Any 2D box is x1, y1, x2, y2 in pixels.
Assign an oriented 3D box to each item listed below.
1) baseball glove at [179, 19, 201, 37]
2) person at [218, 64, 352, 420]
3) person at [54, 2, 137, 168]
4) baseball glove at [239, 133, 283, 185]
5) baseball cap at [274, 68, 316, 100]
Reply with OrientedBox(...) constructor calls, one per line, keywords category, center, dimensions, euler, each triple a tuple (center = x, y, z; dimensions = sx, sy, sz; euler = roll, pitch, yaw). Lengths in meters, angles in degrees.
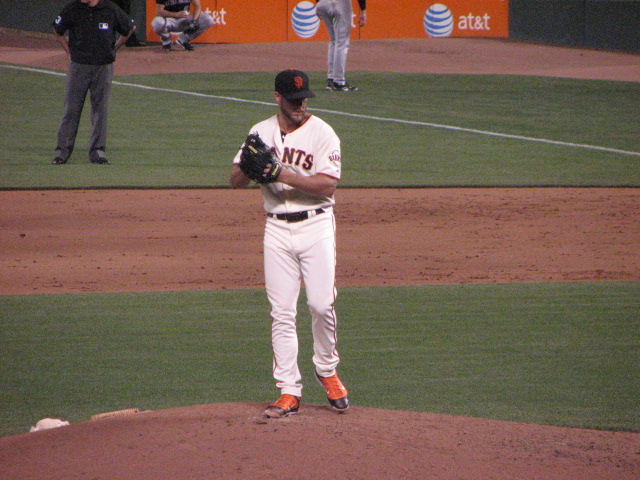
OrientedBox(category="baseball glove", center=(-2.787, -4.527, 26.444), dimensions=(0.251, 0.243, 0.723), euler=(1, -23, 18))
OrientedBox(category="person", center=(-0.252, 0.015, 13.310), dimensions=(1.009, 3.613, 1.147), euler=(-5, 14, -26))
OrientedBox(category="person", center=(-3.411, -2.306, 18.778), dimensions=(1.189, 2.525, 0.711), euler=(-1, 12, -6))
OrientedBox(category="baseball glove", center=(-0.628, -0.839, 13.156), dimensions=(0.410, 0.527, 0.250), euler=(10, 15, 37))
OrientedBox(category="baseball cap", center=(-0.266, -1.704, 13.299), dimensions=(0.406, 0.271, 0.513), euler=(-8, 25, -18))
